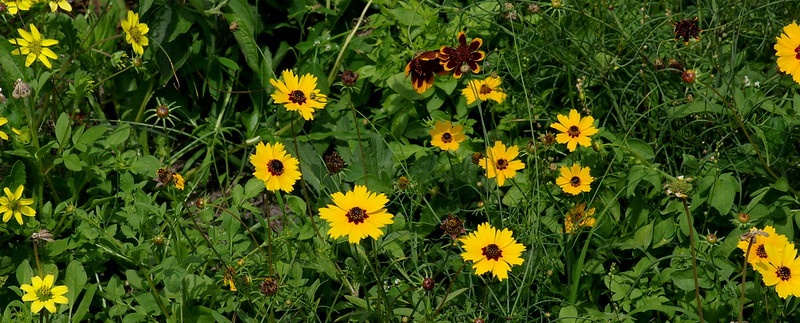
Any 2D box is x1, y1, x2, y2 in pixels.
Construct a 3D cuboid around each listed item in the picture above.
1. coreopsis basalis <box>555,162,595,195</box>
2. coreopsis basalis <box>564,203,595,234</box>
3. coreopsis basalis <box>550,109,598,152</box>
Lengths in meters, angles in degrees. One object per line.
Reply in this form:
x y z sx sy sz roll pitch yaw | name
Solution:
1.282 0.155 4.774 0.291 0.257 0.081 -13 -30 -4 | coreopsis basalis
1.337 0.419 4.797 0.257 0.216 0.163 -8 -19 2 | coreopsis basalis
1.324 -0.240 4.874 0.314 0.366 0.323 -13 -20 17 | coreopsis basalis
